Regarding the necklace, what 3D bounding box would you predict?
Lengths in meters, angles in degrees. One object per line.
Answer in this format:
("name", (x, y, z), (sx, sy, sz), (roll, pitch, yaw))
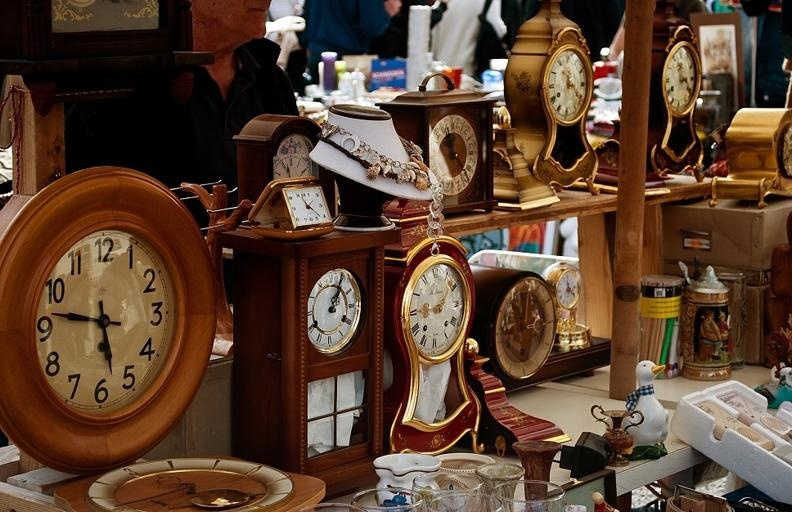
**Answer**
("necklace", (-0.029, -0.218, 2.935), (0.310, 0.423, 0.322), (-1, 33, 9))
